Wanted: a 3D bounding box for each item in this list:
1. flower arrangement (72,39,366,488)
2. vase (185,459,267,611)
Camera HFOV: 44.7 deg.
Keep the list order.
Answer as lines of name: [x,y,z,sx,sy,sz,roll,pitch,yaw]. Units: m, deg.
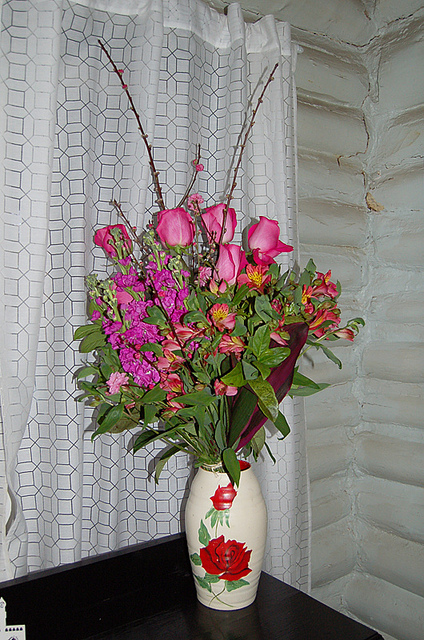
flower arrangement: [0.018,-0.052,0.824,0.413,0.591,0.386,-1,-1,12]
vase: [0.022,0.343,0.817,0.132,0.187,0.119,1,-14,2]
